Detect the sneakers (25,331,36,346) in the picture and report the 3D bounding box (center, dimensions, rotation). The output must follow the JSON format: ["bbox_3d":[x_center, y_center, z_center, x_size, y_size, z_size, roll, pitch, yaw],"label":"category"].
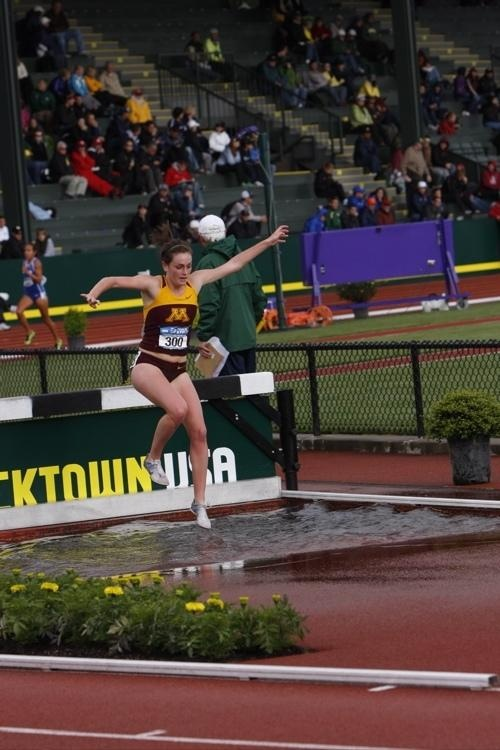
[{"bbox_3d":[-5.724,-0.975,21.988,0.263,0.543,0.209,12,25,6],"label":"sneakers"}]

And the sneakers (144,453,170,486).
[{"bbox_3d":[-0.749,0.752,6.695,0.128,0.327,0.134,-33,-3,-11],"label":"sneakers"}]

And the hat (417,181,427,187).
[{"bbox_3d":[6.079,-6.770,29.736,0.300,0.260,0.285,-3,10,-13],"label":"hat"}]

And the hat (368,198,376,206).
[{"bbox_3d":[4.017,-5.794,28.001,0.254,0.283,0.317,-9,16,-21],"label":"hat"}]

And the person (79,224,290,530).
[{"bbox_3d":[-0.596,0.113,6.397,0.546,2.217,1.414,3,11,42],"label":"person"}]
